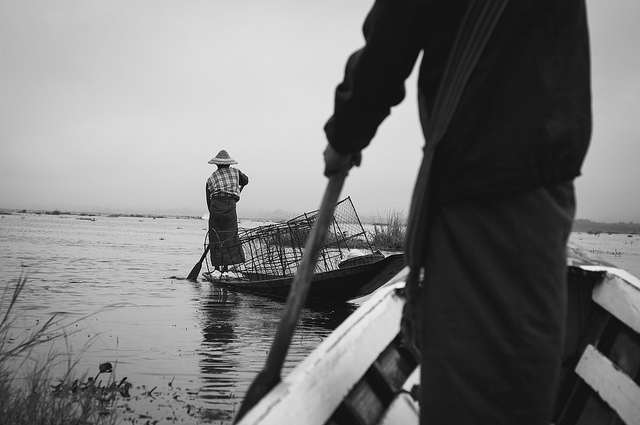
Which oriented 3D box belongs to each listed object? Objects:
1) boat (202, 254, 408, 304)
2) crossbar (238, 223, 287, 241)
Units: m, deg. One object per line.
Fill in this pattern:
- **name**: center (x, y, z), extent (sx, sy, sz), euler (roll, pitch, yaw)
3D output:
- **boat**: center (-0.113, 0.991, 7.075), extent (1.003, 0.705, 4.453), euler (6, -11, -34)
- **crossbar**: center (-1.032, 0.354, 8.030), extent (0.326, 0.300, 2.122), euler (3, -1, -24)
